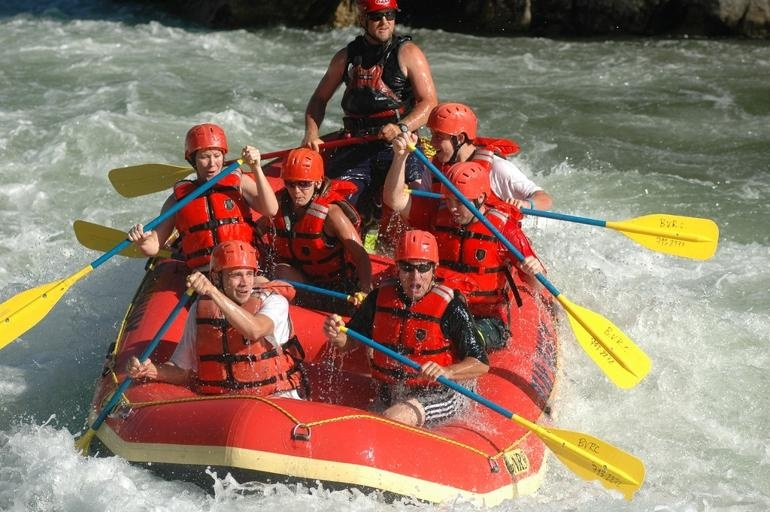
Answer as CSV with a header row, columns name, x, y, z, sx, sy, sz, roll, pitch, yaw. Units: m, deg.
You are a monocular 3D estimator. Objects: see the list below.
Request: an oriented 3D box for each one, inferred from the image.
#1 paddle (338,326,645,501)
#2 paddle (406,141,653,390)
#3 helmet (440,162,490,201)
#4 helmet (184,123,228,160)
name,x,y,z,sx,sy,sz,roll,pitch,yaw
paddle,0.917,1.383,7.540,2.757,0.179,0.437,21,5,31
paddle,1.439,0.174,8.203,4.178,0.569,0.182,43,13,14
helmet,0.785,-0.693,7.773,0.325,0.305,0.409,7,-7,41
helmet,-1.775,-1.148,8.085,0.309,0.403,0.367,6,64,-38
